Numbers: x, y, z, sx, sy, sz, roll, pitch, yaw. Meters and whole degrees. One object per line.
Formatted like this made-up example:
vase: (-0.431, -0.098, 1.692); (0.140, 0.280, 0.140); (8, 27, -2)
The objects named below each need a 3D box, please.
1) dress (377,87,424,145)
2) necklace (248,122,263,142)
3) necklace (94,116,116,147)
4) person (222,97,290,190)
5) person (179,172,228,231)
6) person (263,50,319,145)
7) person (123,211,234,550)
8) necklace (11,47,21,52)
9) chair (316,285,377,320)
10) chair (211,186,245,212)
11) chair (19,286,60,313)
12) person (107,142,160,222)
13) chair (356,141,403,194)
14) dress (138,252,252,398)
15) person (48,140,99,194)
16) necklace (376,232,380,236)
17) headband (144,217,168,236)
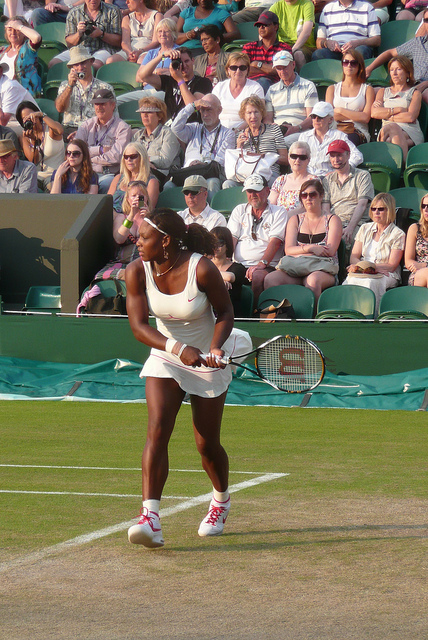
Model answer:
dress: (2.591, -2.800, 10.721); (0.692, 0.751, 0.377); (0, -1, -12)
necklace: (0.584, -2.466, 10.399); (0.197, 0.270, 0.045); (0, -1, -37)
necklace: (-1.510, -2.626, 11.014); (0.243, 0.415, 0.102); (35, 7, 40)
person: (0.530, -2.290, 10.320); (1.014, 1.140, 0.793); (-10, 12, -22)
person: (-0.176, -1.333, 9.286); (0.797, 0.661, 0.426); (3, 10, 34)
person: (0.989, -3.157, 11.288); (0.928, 1.220, 1.031); (5, 21, 33)
person: (-0.139, 0.229, 3.377); (0.470, 1.406, 0.621); (0, -1, -6)
necklace: (-3.247, -4.456, 13.014); (0.151, 0.030, 0.130); (3, -23, -12)
chair: (1.412, -0.173, 8.426); (0.514, 0.512, 0.467); (0, -17, 3)
chair: (0.196, -1.507, 10.233); (0.484, 0.462, 0.411); (0, 0, 5)
chair: (-2.193, -0.270, 10.045); (0.453, 0.356, 0.663); (0, -1, -12)
person: (-1.008, -1.863, 10.275); (0.809, 1.002, 1.076); (4, 11, 14)
chair: (2.163, -1.943, 10.349); (0.592, 0.628, 0.609); (3, 14, 12)
dress: (-0.095, 0.018, 3.564); (0.452, 0.643, 0.451); (0, -1, 3)
person: (-1.815, -1.974, 10.334); (0.621, 0.591, 0.748); (0, -1, -9)
necklace: (1.846, -0.967, 8.907); (0.047, 0.039, 0.006); (-1, -1, 40)
headband: (-0.245, -0.402, 3.407); (0.126, 0.015, 0.014); (37, -4, -8)
